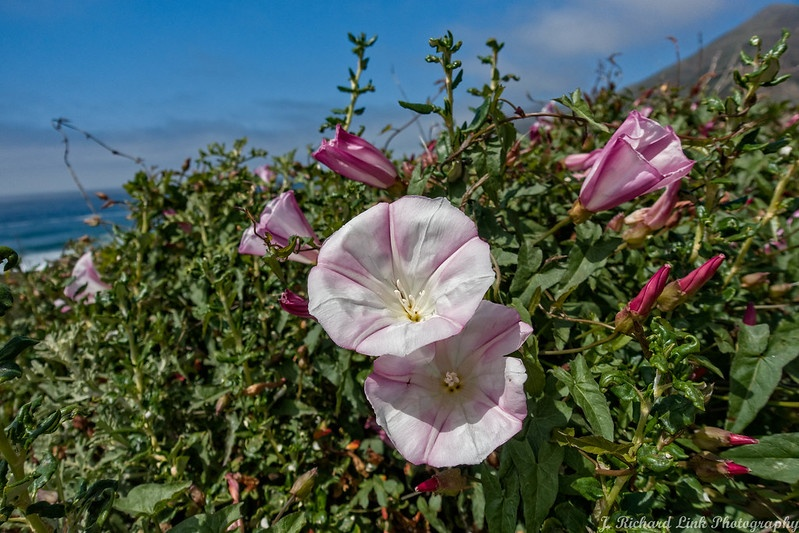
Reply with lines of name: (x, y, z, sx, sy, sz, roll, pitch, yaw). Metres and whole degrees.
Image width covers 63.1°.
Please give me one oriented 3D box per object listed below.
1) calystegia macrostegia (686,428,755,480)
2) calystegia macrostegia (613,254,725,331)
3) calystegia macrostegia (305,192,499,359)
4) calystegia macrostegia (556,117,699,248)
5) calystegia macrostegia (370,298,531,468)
calystegia macrostegia: (1.826, 1.032, 3.670, 0.349, 0.304, 0.284, -4, 14, 29)
calystegia macrostegia: (1.667, 0.164, 3.950, 0.601, 0.180, 0.160, -42, 16, -20)
calystegia macrostegia: (0.001, 0.176, 3.636, 0.974, 0.990, 0.421, -10, -32, 7)
calystegia macrostegia: (1.311, -0.538, 3.935, 0.596, 0.621, 0.684, 24, 6, -33)
calystegia macrostegia: (0.397, 0.789, 3.823, 0.901, 0.927, 0.400, 35, -6, 26)
